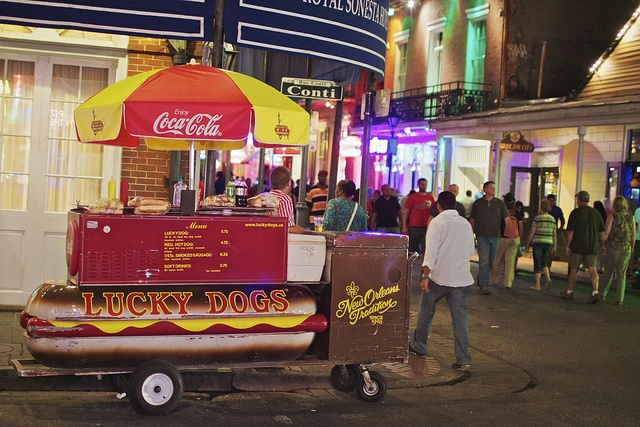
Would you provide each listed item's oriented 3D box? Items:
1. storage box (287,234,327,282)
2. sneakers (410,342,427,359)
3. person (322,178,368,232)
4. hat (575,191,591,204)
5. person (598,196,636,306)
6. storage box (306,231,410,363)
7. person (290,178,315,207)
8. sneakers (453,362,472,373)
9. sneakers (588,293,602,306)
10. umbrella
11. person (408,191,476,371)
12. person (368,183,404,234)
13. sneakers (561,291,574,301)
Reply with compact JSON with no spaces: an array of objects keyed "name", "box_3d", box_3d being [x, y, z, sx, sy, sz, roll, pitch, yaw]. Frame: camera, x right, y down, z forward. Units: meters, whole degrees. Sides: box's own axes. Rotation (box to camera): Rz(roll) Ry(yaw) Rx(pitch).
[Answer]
[{"name":"storage box","box_3d":[-0.185,0.549,9.361,0.580,0.548,0.594,0,1,-4]},{"name":"sneakers","box_3d":[1.487,2.132,11.316,0.355,0.148,0.128,10,3,13]},{"name":"person","box_3d":[0.425,-0.120,11.905,0.688,0.785,1.003,4,8,0]},{"name":"hat","box_3d":[6.068,-0.406,16.769,0.263,0.202,0.351,4,24,8]},{"name":"person","box_3d":[6.657,0.820,16.298,0.632,2.372,1.009,7,9,22]},{"name":"storage box","box_3d":[0.600,1.094,10.438,1.644,1.940,1.526,-1,2,-15]},{"name":"person","box_3d":[-0.780,-0.636,23.700,0.794,1.041,1.061,-1,4,6]},{"name":"sneakers","box_3d":[2.096,2.272,10.811,0.280,0.129,0.109,5,6,29]},{"name":"sneakers","box_3d":[6.035,1.867,16.017,0.171,0.207,0.231,18,32,37]},{"name":"umbrella","box_3d":[-1.560,-1.356,9.278,2.859,1.065,0.882,2,9,-15]},{"name":"person","box_3d":[1.924,0.977,11.030,0.950,2.545,0.749,6,9,12]},{"name":"person","box_3d":[1.810,-0.122,19.340,0.823,1.169,0.767,9,10,33]},{"name":"sneakers","box_3d":[5.557,1.819,16.379,0.256,0.143,0.410,7,9,19]}]
